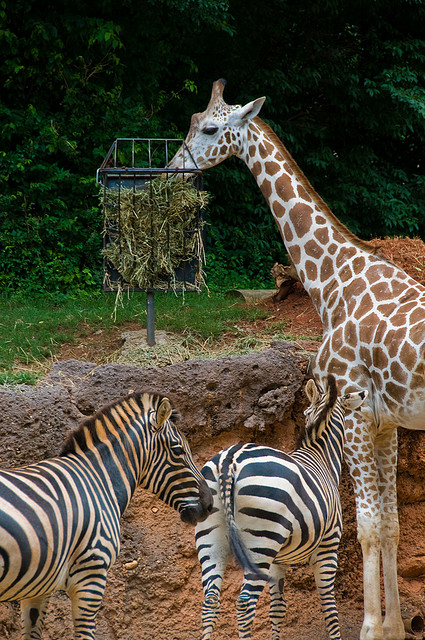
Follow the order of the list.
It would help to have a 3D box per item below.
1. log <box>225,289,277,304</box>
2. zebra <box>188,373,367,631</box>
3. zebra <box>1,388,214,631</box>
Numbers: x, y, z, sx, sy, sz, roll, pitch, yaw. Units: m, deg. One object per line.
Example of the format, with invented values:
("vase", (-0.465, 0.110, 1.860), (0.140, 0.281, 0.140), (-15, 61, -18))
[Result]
("log", (0.497, -0.298, 8.850), (0.380, 0.086, 0.246), (-3, 8, -25))
("zebra", (0.458, 1.353, 4.985), (0.958, 2.004, 1.449), (3, 8, 10))
("zebra", (-0.631, 1.010, 4.112), (1.209, 1.134, 0.514), (-5, 10, -40))
